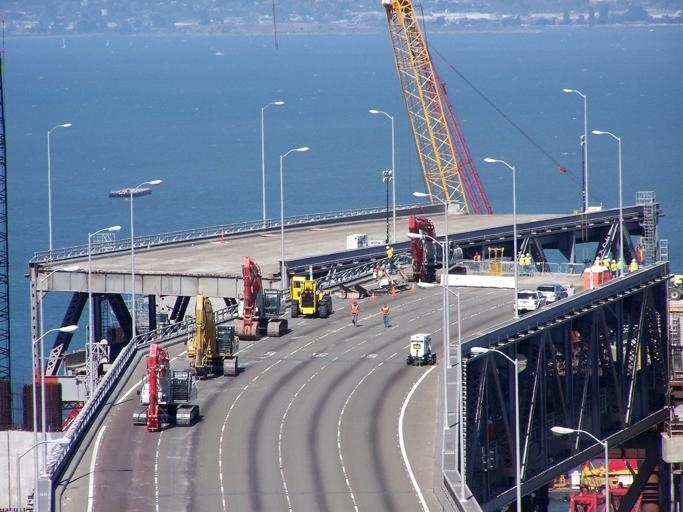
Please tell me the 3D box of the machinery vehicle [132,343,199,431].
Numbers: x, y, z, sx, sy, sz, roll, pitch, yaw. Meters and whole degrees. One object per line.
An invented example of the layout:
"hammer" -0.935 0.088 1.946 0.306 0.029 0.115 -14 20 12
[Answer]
"machinery vehicle" -26.876 20.165 291.611 9.837 11.569 15.780 -1 1 8

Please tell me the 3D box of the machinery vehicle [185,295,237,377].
"machinery vehicle" -20.791 13.188 298.554 9.873 13.028 17.272 1 4 6

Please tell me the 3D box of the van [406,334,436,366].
"van" 12.630 14.983 301.286 3.735 4.708 5.077 1 8 15
